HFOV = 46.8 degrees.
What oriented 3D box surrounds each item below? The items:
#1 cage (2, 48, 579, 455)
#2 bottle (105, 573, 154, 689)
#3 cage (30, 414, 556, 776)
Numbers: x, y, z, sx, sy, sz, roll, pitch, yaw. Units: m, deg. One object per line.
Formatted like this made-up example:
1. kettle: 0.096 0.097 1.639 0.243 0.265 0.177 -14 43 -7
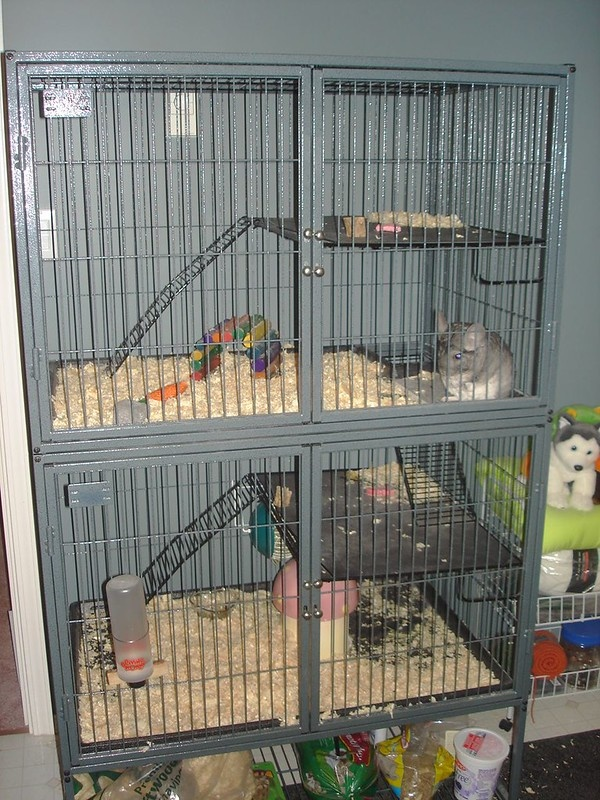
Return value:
1. cage: -0.067 -0.398 1.835 1.221 1.135 0.479 -3 20 -12
2. bottle: -0.435 0.588 1.759 0.084 0.287 0.061 -5 15 -8
3. cage: -0.003 0.593 2.036 1.090 1.035 0.438 -3 22 -9
